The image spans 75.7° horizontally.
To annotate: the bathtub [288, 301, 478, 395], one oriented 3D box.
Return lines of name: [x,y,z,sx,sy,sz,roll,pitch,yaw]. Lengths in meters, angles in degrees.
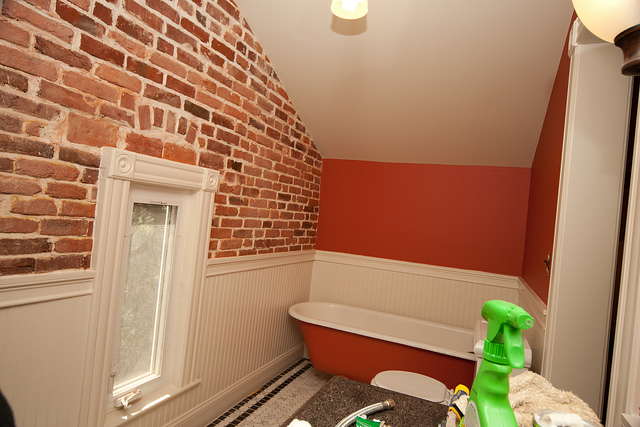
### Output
bathtub: [0.603,1.271,4.081,1.752,0.531,0.660,-1,0,20]
